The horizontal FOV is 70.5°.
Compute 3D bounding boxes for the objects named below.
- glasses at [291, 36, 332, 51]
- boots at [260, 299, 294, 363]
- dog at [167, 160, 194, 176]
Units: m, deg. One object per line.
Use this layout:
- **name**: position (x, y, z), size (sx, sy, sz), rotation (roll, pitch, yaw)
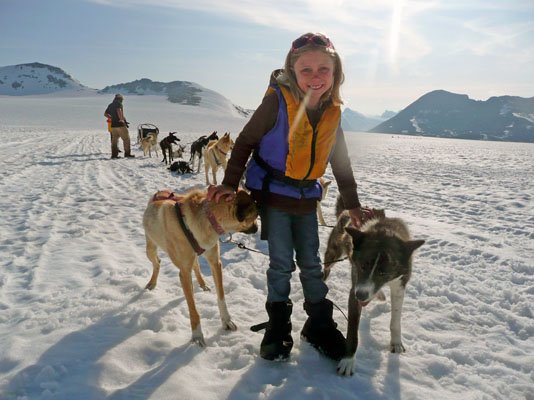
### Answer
- **glasses**: position (0.489, -1.686, 4.026), size (0.441, 0.170, 0.091), rotation (2, 14, -5)
- **boots**: position (0.120, 1.442, 4.213), size (0.382, 0.625, 0.306), rotation (3, 14, -1)
- **dog**: position (-2.912, -1.139, 12.999), size (0.660, 0.391, 0.917), rotation (-8, 17, -40)
